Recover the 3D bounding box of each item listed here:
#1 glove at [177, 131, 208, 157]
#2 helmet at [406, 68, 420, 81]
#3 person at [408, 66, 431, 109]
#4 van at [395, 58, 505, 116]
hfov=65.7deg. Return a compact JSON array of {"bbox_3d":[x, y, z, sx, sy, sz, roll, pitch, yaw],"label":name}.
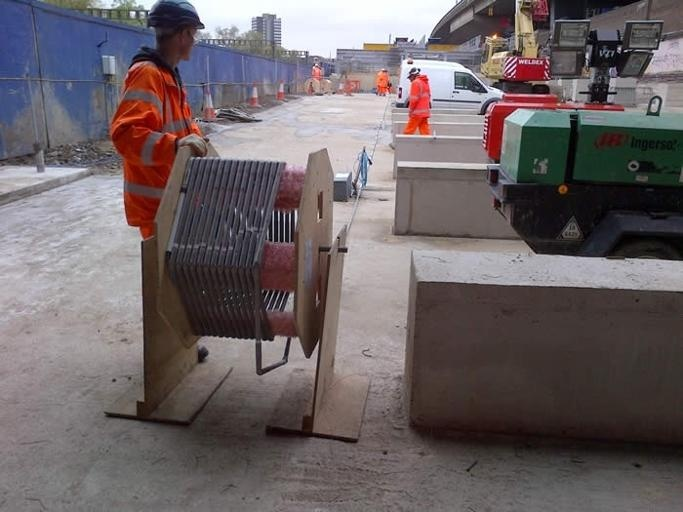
[{"bbox_3d":[-1.000,-0.744,3.562,0.187,0.149,0.385,-5,21,-12],"label":"glove"},{"bbox_3d":[1.662,-4.275,12.247,0.381,0.222,0.283,-9,8,15],"label":"helmet"},{"bbox_3d":[1.749,-3.706,11.804,0.453,0.894,1.398,1,20,6],"label":"person"},{"bbox_3d":[3.637,-5.978,18.469,3.550,1.983,2.226,-3,32,0],"label":"van"}]
